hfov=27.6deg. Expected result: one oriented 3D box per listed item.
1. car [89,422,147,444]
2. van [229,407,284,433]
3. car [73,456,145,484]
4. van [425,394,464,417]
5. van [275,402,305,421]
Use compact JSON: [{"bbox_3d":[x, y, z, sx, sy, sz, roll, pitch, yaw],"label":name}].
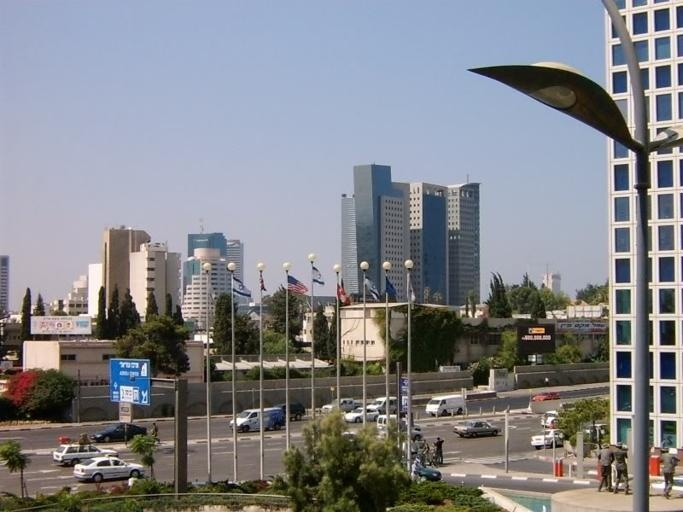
[{"bbox_3d":[-19.926,15.740,123.950,4.617,1.683,2.669,0,-6,-12],"label":"car"},{"bbox_3d":[-7.608,15.551,131.932,4.532,1.924,2.287,5,-8,-33],"label":"van"},{"bbox_3d":[-18.167,16.665,108.576,4.955,1.911,1.937,2,-7,-25],"label":"car"},{"bbox_3d":[10.648,15.252,141.467,3.646,2.089,2.151,2,-7,-27],"label":"van"},{"bbox_3d":[-4.756,15.240,136.840,2.535,1.320,1.370,4,-6,-17],"label":"van"}]
